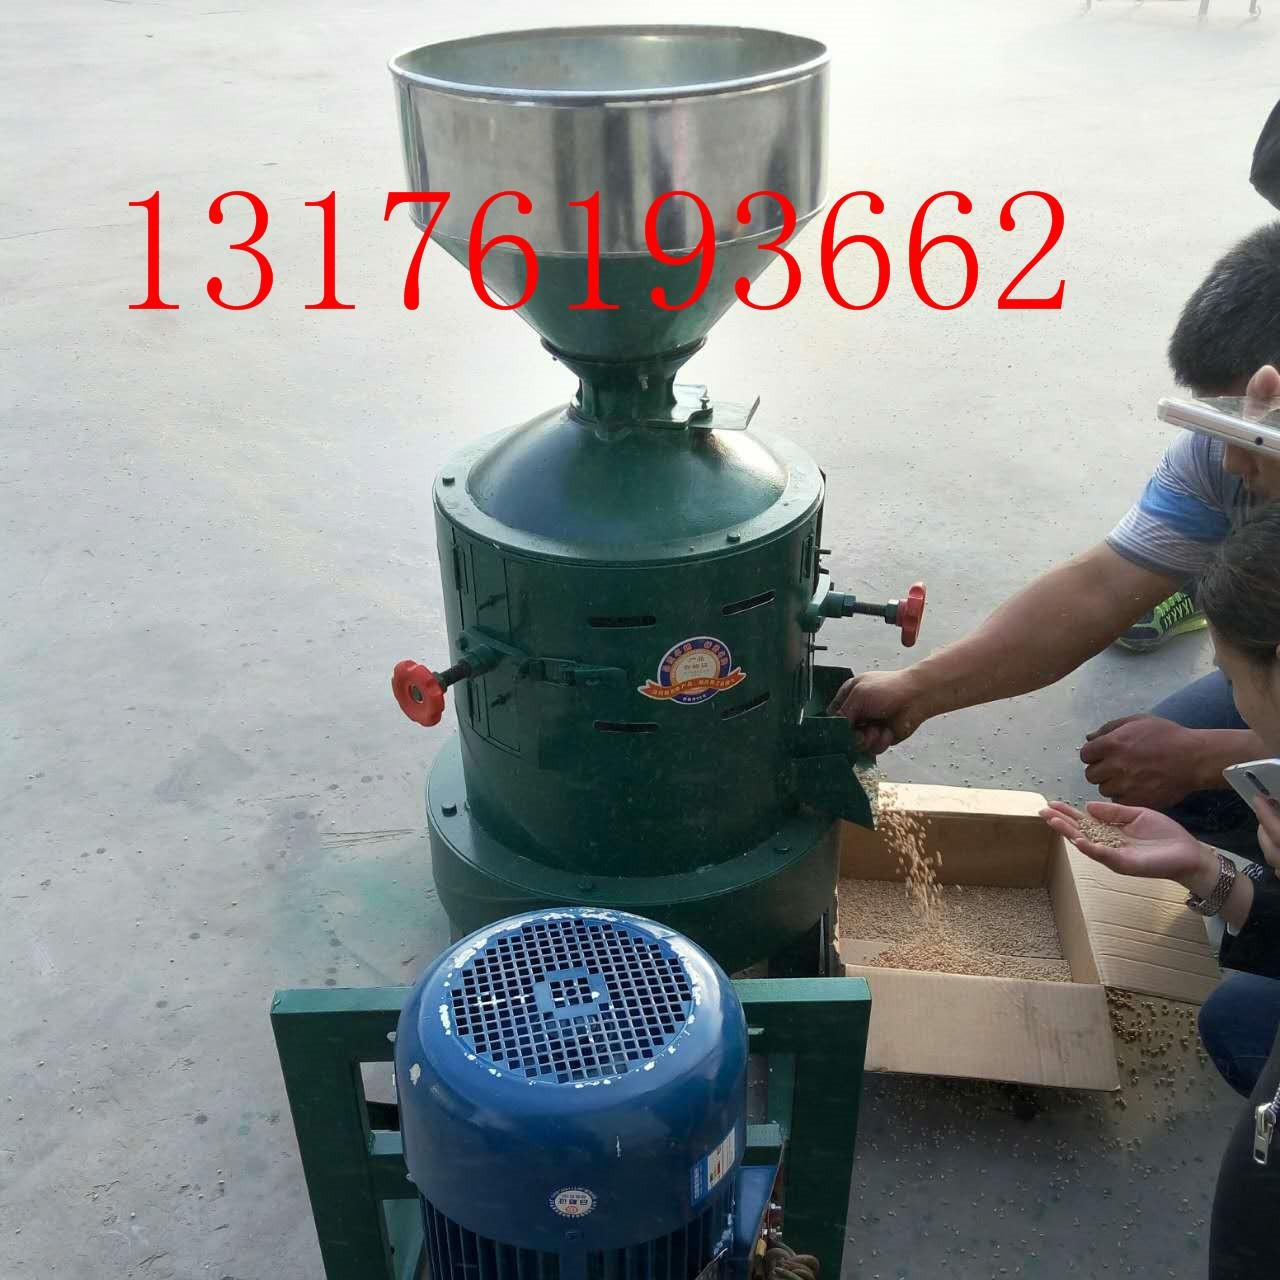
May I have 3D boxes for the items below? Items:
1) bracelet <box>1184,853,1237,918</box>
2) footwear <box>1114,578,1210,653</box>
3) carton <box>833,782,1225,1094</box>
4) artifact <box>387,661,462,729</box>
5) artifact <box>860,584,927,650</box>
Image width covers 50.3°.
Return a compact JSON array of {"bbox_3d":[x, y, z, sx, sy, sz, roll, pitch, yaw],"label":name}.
[{"bbox_3d":[1.001,0.425,2.388,0.098,0.104,0.059,2,29,-48],"label":"bracelet"},{"bbox_3d":[1.348,-0.060,3.515,0.278,0.102,0.097,-25,35,-27],"label":"footwear"},{"bbox_3d":[0.799,0.667,2.867,0.774,0.212,0.668,2,35,3],"label":"carton"},{"bbox_3d":[-0.371,0.085,2.424,0.102,0.075,0.163,12,20,32],"label":"artifact"},{"bbox_3d":[0.639,-0.049,3.405,0.195,0.146,0.152,8,38,-1],"label":"artifact"}]
